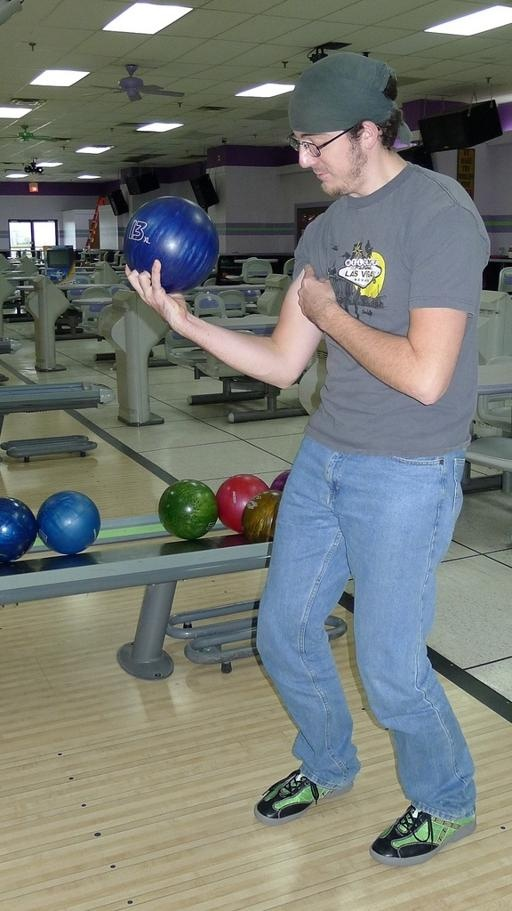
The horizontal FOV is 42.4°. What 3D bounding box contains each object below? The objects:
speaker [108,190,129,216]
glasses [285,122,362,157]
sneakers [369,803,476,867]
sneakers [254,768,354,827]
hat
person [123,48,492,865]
[{"bbox_3d":[-4.592,-8.466,22.122,0.260,0.817,1.122,-10,12,-3],"label":"speaker"},{"bbox_3d":[0.114,-0.497,1.044,0.087,0.027,0.084,-32,26,-10],"label":"glasses"},{"bbox_3d":[0.342,0.768,1.324,0.177,0.091,0.069,-19,39,-2],"label":"sneakers"},{"bbox_3d":[0.111,0.747,1.523,0.225,0.102,0.089,-19,51,-9],"label":"sneakers"},{"bbox_3d":[0.138,-0.550,1.047,0.155,0.122,0.100,-9,-7,5],"label":"hat"},{"bbox_3d":[0.186,0.105,1.232,0.312,1.505,0.534,-10,12,-42],"label":"person"}]
